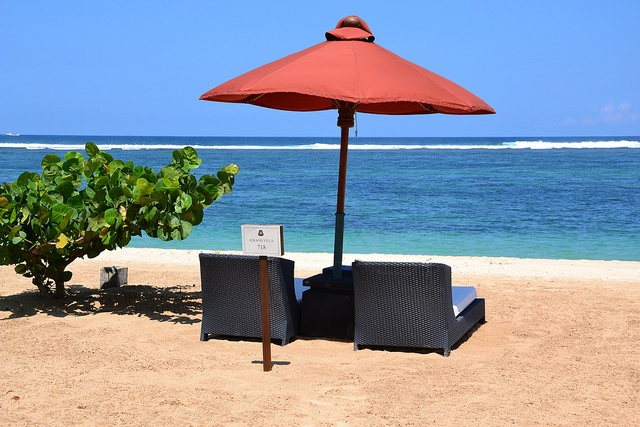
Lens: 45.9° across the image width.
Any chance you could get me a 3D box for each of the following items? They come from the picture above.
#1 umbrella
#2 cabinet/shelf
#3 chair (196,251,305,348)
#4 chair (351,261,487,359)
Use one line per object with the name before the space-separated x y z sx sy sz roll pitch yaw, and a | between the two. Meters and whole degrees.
umbrella | 0.376 -0.955 10.151 3.981 3.263 3.736 4 3 8
cabinet/shelf | 0.108 1.143 10.120 0.679 0.770 1.240 0 0 8
chair | -0.876 1.086 9.961 1.169 1.041 1.212 0 1 15
chair | 1.292 1.112 10.223 1.267 1.127 2.069 1 4 20
